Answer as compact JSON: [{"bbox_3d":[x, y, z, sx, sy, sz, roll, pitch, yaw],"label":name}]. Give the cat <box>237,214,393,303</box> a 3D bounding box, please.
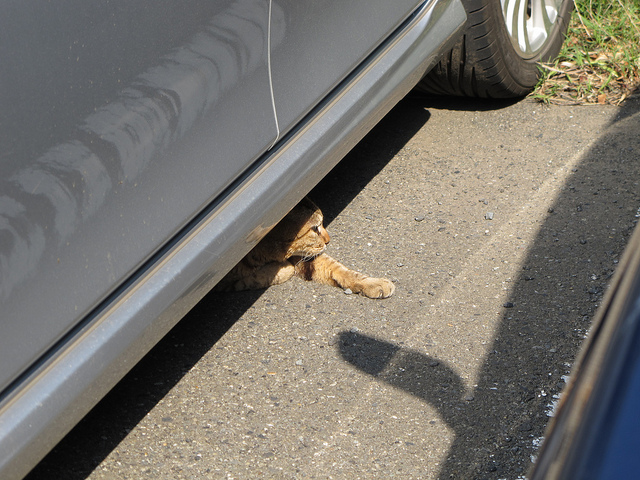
[{"bbox_3d":[-0.073,0.065,3.798,0.970,0.350,0.525,-4,83,33],"label":"cat"}]
